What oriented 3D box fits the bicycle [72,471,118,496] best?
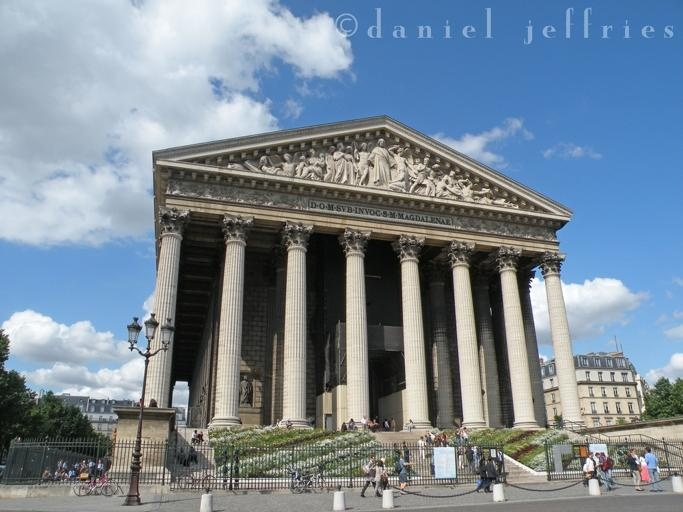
[{"bbox_3d":[-12.364,11.678,27.403,1.925,1.151,0.967,2,-26,-7],"label":"bicycle"}]

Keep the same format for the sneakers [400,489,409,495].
[{"bbox_3d":[3.104,11.943,27.164,0.187,0.240,0.569,-7,-16,32],"label":"sneakers"}]

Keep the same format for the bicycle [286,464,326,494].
[{"bbox_3d":[-1.826,11.592,27.806,1.978,1.221,0.990,-4,-27,-1],"label":"bicycle"}]

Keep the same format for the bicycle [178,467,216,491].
[{"bbox_3d":[-7.321,11.397,27.206,1.823,0.878,1.178,1,-21,-9],"label":"bicycle"}]
